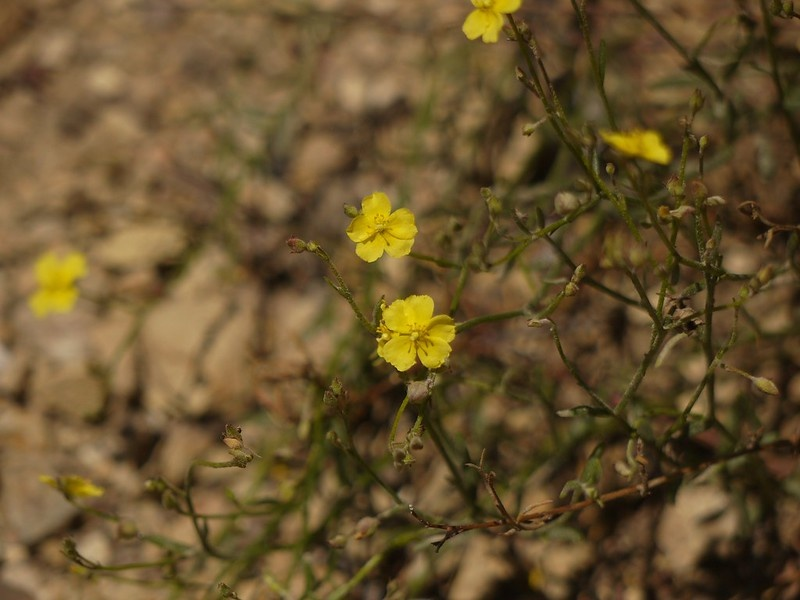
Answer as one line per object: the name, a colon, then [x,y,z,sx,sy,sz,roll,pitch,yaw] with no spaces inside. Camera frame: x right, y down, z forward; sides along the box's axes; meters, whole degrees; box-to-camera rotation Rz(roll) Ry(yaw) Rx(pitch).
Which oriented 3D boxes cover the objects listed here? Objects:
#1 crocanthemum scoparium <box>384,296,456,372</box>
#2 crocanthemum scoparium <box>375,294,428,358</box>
crocanthemum scoparium: [0.050,0.105,3.879,0.280,0.108,0.337,-3,20,9]
crocanthemum scoparium: [0.012,0.061,3.867,0.182,0.172,0.092,-7,-18,5]
